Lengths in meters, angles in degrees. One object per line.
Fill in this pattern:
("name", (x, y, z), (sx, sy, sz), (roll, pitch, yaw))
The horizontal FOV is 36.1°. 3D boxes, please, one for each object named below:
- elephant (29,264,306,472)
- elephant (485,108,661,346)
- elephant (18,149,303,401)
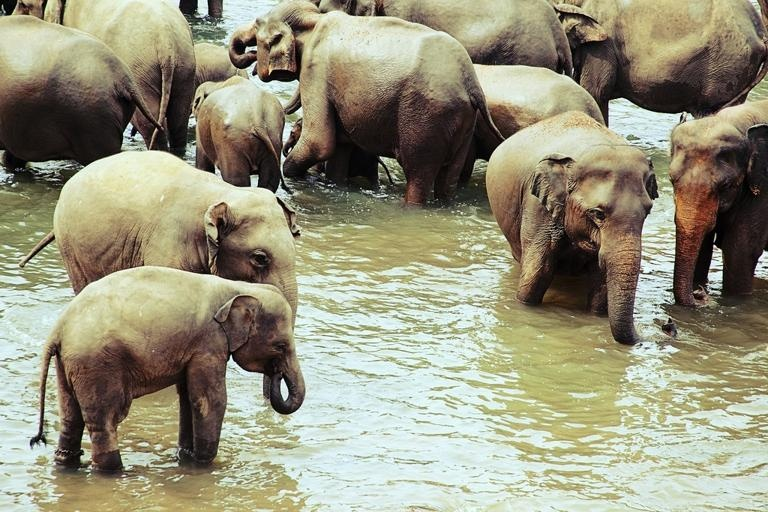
("elephant", (-1.247, 0.654, 6.834), (1.692, 1.025, 0.615), (0, 3, -30))
("elephant", (1.361, -0.248, 8.476), (0.715, 1.483, 1.378), (-5, 14, -25))
("elephant", (-1.745, -0.086, 7.072), (2.315, 1.112, 0.845), (9, 30, 15))
